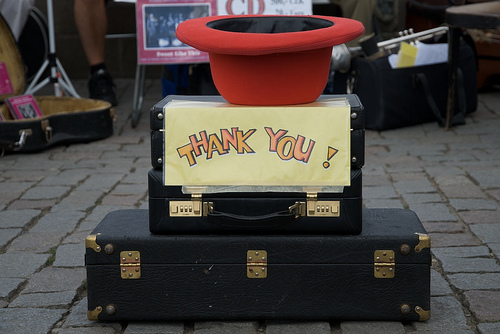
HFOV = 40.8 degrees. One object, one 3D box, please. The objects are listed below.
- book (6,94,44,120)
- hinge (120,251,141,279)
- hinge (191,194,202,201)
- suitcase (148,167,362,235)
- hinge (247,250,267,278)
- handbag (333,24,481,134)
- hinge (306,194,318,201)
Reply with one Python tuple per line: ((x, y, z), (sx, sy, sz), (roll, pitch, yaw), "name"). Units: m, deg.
((-2.065, -0.543, 6.144), (0.256, 0.196, 0.212), (-22, 35, -32), "book")
((-0.657, 0.533, 3.689), (0.109, 0.199, 0.202), (0, 64, -9), "hinge")
((-0.285, 0.167, 3.606), (0.056, 0.034, 0.019), (-1, 29, 1), "hinge")
((0.029, 0.194, 3.628), (1.160, 0.348, 0.182), (0, 29, 2), "suitcase")
((0.042, 0.528, 3.633), (0.102, 0.140, 0.058), (1, 29, 4), "hinge")
((1.530, -0.788, 6.629), (1.316, 0.891, 1.250), (-14, 21, -18), "handbag")
((0.339, 0.164, 3.592), (0.045, 0.022, 0.036), (2, 11, 4), "hinge")
